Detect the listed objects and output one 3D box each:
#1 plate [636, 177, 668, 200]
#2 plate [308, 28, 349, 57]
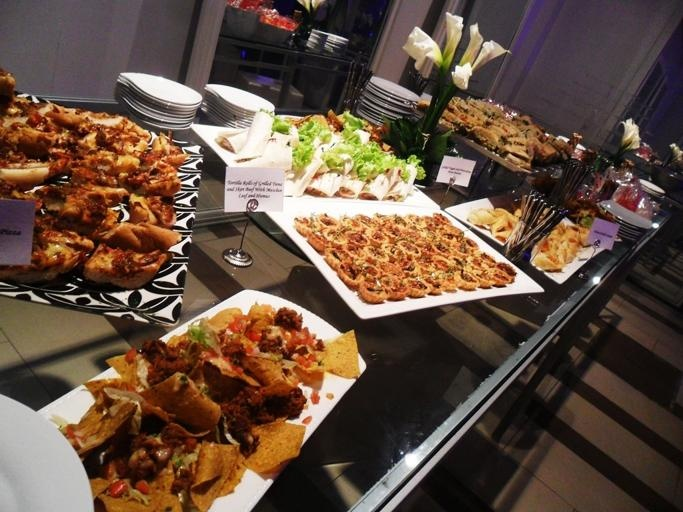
[{"bbox_3d":[3.598,-0.778,5.173,0.439,0.083,0.434,18,23,9],"label":"plate"},{"bbox_3d":[-0.133,-2.183,4.562,0.354,0.126,0.297,20,27,24],"label":"plate"}]
